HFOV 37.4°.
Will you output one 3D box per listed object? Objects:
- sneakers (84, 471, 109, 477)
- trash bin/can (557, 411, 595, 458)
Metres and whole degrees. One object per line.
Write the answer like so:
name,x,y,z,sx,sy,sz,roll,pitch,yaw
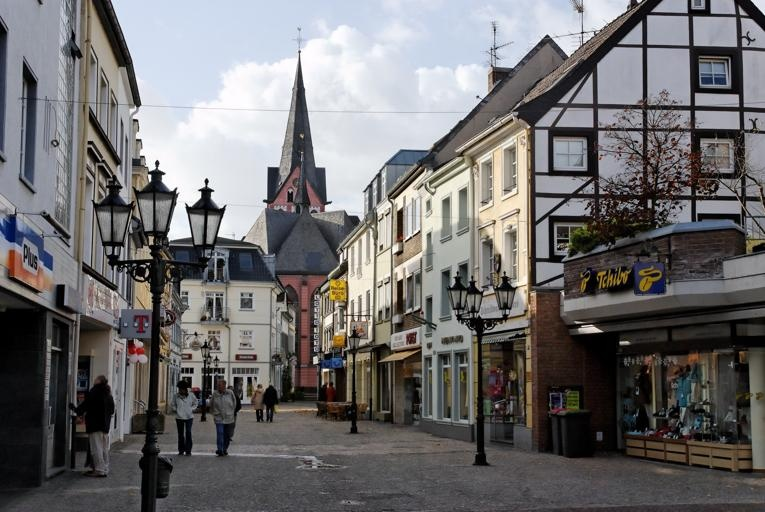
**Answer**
sneakers,-7.020,5.337,27.536,0.462,0.215,0.209,-3,-6,13
trash bin/can,5.644,5.047,32.853,0.837,1.386,0.937,-3,2,0
